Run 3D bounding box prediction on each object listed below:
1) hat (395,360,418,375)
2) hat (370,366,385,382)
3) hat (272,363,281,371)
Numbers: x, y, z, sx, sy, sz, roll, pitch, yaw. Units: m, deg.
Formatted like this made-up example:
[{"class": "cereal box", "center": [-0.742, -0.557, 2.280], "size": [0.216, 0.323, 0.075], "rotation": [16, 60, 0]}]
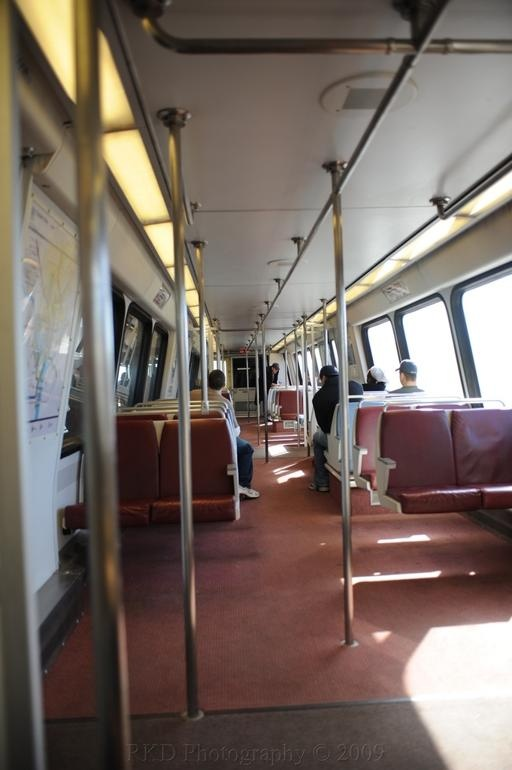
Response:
[{"class": "hat", "center": [1.738, -0.197, 5.547], "size": [0.183, 0.180, 0.299], "rotation": [-4, -4, 18]}, {"class": "hat", "center": [1.731, -0.151, 6.928], "size": [0.205, 0.149, 0.067], "rotation": [41, -15, 0]}, {"class": "hat", "center": [0.618, -0.570, 14.915], "size": [0.186, 0.282, 0.253], "rotation": [-7, 5, 4]}]
